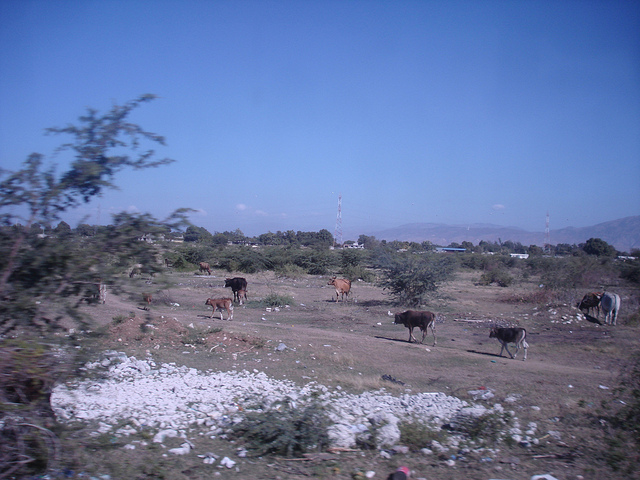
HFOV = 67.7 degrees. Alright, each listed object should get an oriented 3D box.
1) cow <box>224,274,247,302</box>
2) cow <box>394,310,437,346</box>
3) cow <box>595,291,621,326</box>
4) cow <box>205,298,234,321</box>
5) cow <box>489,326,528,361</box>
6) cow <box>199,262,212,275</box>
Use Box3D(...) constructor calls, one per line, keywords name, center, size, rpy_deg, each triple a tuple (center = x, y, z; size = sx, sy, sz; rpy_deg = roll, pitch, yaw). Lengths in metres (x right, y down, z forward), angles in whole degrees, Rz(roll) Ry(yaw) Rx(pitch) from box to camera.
Box3D(name="cow", center=(-4.198, 2.487, 24.068), size=(0.878, 1.184, 1.306), rpy_deg=(1, 3, -20))
Box3D(name="cow", center=(3.352, 3.073, 16.792), size=(0.542, 1.128, 1.917), rpy_deg=(19, -18, -40))
Box3D(name="cow", center=(12.338, 2.928, 20.294), size=(0.660, 1.295, 1.218), rpy_deg=(4, 3, 27))
Box3D(name="cow", center=(-3.998, 2.737, 19.056), size=(0.910, 0.846, 1.430), rpy_deg=(1, 3, -26))
Box3D(name="cow", center=(5.852, 3.181, 14.770), size=(0.441, 0.842, 1.419), rpy_deg=(15, -15, -30))
Box3D(name="cow", center=(-10.487, 2.564, 43.495), size=(0.827, 0.984, 2.343), rpy_deg=(1, 2, -18))
